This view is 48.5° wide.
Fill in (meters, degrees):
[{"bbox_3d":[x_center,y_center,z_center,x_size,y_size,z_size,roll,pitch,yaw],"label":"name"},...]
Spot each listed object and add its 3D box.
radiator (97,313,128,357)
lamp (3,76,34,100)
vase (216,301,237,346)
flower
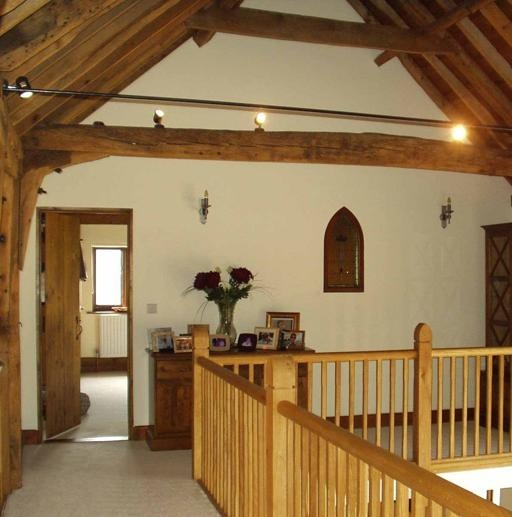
[{"bbox_3d":[-2.312,1.308,9.569,0.637,0.730,0.655,3,-13,-20],"label":"radiator"},{"bbox_3d":[-1.417,-1.030,3.425,0.179,0.140,0.076,-21,33,-18],"label":"lamp"},{"bbox_3d":[-0.278,0.611,5.310,0.172,0.410,0.380,0,-2,-4],"label":"vase"},{"bbox_3d":[-0.341,0.415,5.484,0.636,0.688,0.724,0,-2,-5],"label":"flower"}]
